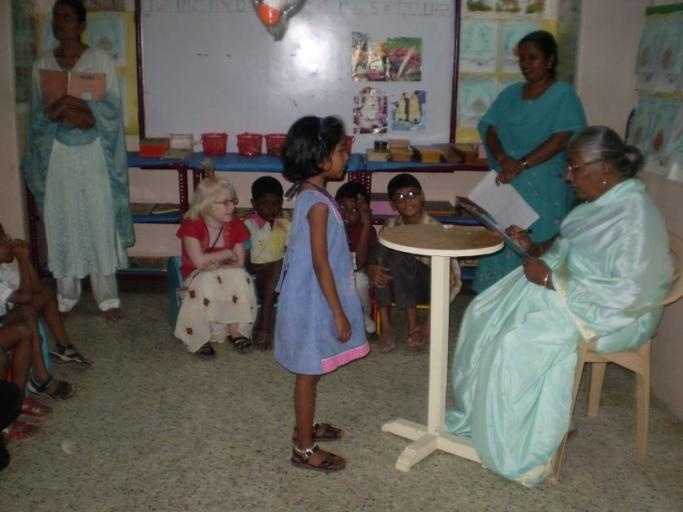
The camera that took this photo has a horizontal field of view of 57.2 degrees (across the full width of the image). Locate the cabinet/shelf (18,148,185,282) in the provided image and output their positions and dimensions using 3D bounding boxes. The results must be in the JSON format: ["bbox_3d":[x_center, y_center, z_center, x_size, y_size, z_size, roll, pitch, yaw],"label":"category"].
[{"bbox_3d":[-1.749,-0.306,4.464,1.109,0.917,0.360,0,21,-1],"label":"cabinet/shelf"}]

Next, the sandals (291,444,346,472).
[{"bbox_3d":[-0.106,0.932,2.911,0.243,0.100,0.110,0,14,3],"label":"sandals"}]

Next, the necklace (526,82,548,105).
[{"bbox_3d":[1.189,-1.028,3.881,0.129,0.103,0.113,-18,27,-29],"label":"necklace"}]

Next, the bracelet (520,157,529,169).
[{"bbox_3d":[1.112,-0.572,3.840,0.040,0.056,0.056,-37,16,26],"label":"bracelet"}]

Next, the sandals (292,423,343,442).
[{"bbox_3d":[-0.118,0.871,3.101,0.248,0.095,0.113,-4,9,-4],"label":"sandals"}]

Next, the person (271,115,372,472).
[{"bbox_3d":[-0.102,0.184,2.811,0.422,1.586,0.368,-2,16,1],"label":"person"}]

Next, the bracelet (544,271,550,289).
[{"bbox_3d":[0.927,0.110,2.818,0.044,0.049,0.057,4,13,16],"label":"bracelet"}]

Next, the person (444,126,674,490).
[{"bbox_3d":[0.981,0.201,2.900,0.932,1.544,0.608,-7,16,-15],"label":"person"}]

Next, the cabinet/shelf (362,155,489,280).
[{"bbox_3d":[0.741,-0.429,5.100,0.689,0.632,0.228,7,-4,39],"label":"cabinet/shelf"}]

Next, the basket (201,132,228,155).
[{"bbox_3d":[-0.990,-0.870,4.872,0.192,0.168,0.218,-6,16,-14],"label":"basket"}]

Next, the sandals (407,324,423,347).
[{"bbox_3d":[0.480,0.522,4.061,0.078,0.146,0.054,0,-20,10],"label":"sandals"}]

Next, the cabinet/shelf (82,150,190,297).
[{"bbox_3d":[-1.305,-0.293,5.048,1.172,1.055,0.844,0,20,-2],"label":"cabinet/shelf"}]

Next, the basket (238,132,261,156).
[{"bbox_3d":[-0.718,-0.872,4.882,0.187,0.178,0.179,-5,16,-11],"label":"basket"}]

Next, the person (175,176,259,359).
[{"bbox_3d":[-0.835,0.050,3.975,0.536,1.092,0.387,-6,16,-15],"label":"person"}]

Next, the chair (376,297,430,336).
[{"bbox_3d":[0.374,0.410,4.326,0.399,0.243,0.208,-2,11,-3],"label":"chair"}]

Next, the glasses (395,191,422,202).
[{"bbox_3d":[0.413,-0.372,3.900,0.155,0.060,0.032,-2,16,-1],"label":"glasses"}]
